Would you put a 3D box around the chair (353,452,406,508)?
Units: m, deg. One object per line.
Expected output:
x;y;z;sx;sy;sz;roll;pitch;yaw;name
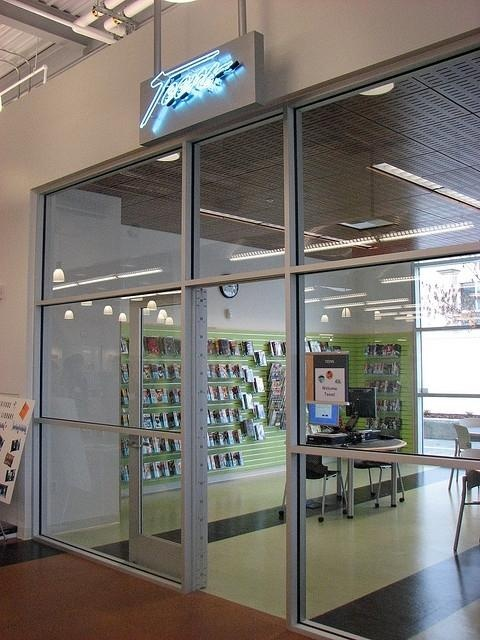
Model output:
0.665;0.729;2.385;0.162;0.289;0.201;2;-6;-35;chair

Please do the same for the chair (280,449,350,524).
0.457;0.824;2.739;0.261;0.361;0.243;-8;-5;-42;chair

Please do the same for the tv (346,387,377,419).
0.610;0.397;2.502;0.056;0.147;0.170;2;-1;-32;tv

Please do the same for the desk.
0.614;0.721;2.403;0.387;0.253;0.378;-9;-16;34;desk

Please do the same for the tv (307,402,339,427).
0.446;0.489;2.685;0.201;0.118;0.011;-10;-14;43;tv

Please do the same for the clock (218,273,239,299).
-0.132;-0.362;5.692;0.047;0.277;0.281;-11;-12;42;clock
